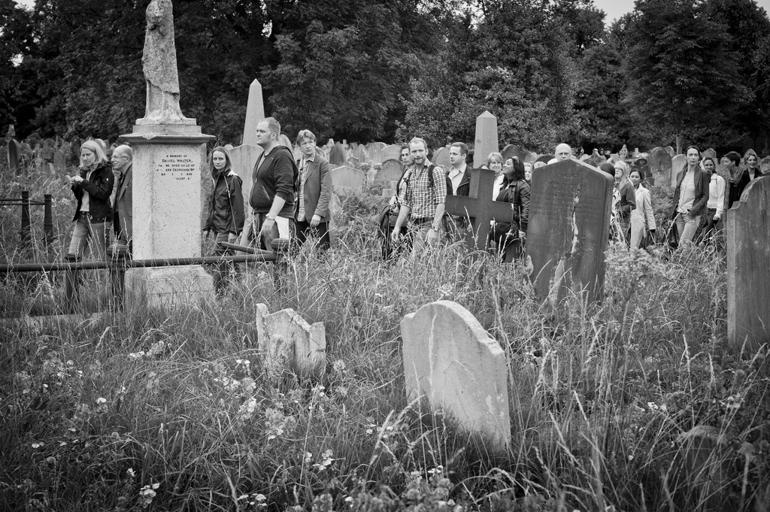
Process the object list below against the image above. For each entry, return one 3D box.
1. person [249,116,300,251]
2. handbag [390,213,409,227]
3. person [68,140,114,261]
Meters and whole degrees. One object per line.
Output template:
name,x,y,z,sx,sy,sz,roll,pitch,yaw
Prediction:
person,-1.347,-0.882,8.960,0.578,1.607,0.891,0,4,-11
handbag,0.175,-0.464,9.825,0.151,0.069,0.163,12,-19,6
person,-3.615,-0.714,9.123,0.527,1.413,0.790,-1,4,-25
